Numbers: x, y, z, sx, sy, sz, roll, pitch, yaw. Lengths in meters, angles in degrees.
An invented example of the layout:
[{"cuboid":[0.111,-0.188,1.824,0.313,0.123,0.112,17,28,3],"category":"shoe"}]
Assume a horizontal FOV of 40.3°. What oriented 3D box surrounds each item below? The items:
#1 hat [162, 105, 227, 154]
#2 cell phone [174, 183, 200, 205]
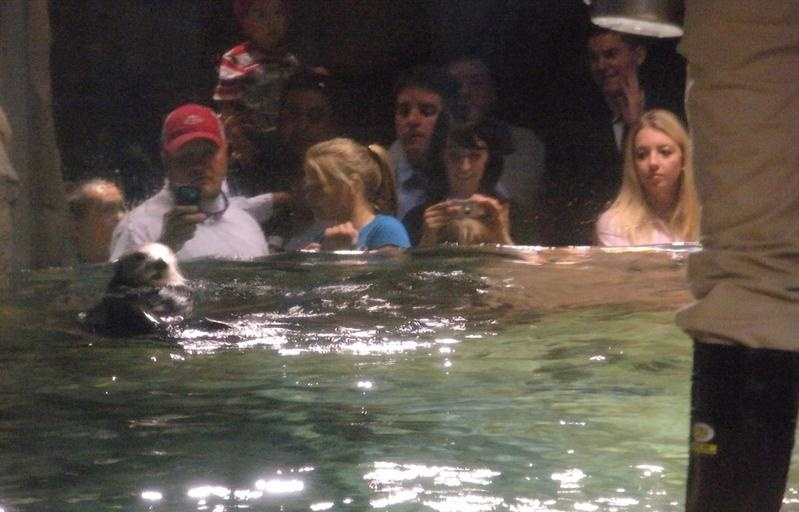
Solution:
[{"cuboid":[-0.524,-0.344,2.780,0.167,0.077,0.171,-12,23,-1],"category":"hat"},{"cuboid":[-0.551,-0.158,2.810,0.079,0.051,0.069,-2,3,-18],"category":"cell phone"}]
